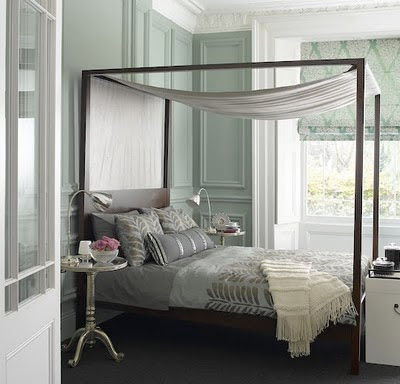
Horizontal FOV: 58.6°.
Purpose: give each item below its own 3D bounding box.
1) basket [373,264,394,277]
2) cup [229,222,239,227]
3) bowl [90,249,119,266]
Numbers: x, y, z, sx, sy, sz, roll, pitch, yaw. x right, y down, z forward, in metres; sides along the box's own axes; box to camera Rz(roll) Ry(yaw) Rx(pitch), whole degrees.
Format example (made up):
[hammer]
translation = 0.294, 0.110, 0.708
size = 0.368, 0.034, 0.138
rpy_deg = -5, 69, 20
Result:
[basket]
translation = 1.467, 0.614, 2.849
size = 0.178, 0.088, 0.116
rpy_deg = 0, -1, -3
[cup]
translation = 0.454, 0.435, 4.810
size = 0.120, 0.078, 0.088
rpy_deg = 2, -5, -1
[bowl]
translation = -0.728, 0.507, 2.830
size = 0.168, 0.119, 0.270
rpy_deg = -1, -1, 33
